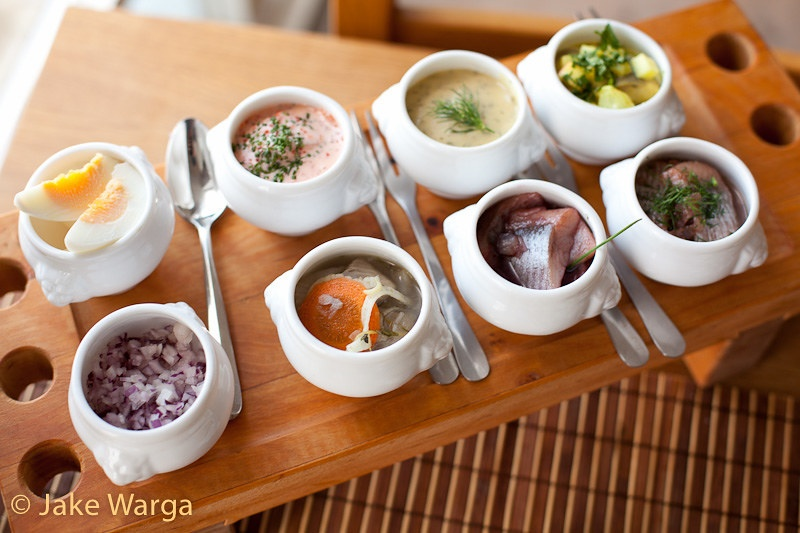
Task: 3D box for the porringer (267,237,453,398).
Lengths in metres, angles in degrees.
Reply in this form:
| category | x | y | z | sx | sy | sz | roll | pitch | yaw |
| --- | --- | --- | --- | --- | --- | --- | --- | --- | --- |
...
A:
| category | x | y | z | sx | sy | sz | roll | pitch | yaw |
| --- | --- | --- | --- | --- | --- | --- | --- | --- | --- |
| porringer | -0.092 | 0.109 | 1.282 | 0.319 | 0.183 | 0.295 | -25 | 62 | -16 |

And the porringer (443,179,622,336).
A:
| category | x | y | z | sx | sy | sz | roll | pitch | yaw |
| --- | --- | --- | --- | --- | --- | --- | --- | --- | --- |
| porringer | 0.284 | -0.005 | 1.359 | 0.334 | 0.228 | 0.294 | -14 | 60 | -10 |

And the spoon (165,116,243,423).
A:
| category | x | y | z | sx | sy | sz | roll | pitch | yaw |
| --- | --- | --- | --- | --- | --- | --- | --- | --- | --- |
| spoon | -0.508 | -0.105 | 1.546 | 0.150 | 0.104 | 0.944 | -8 | 70 | -8 |

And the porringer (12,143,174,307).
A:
| category | x | y | z | sx | sy | sz | roll | pitch | yaw |
| --- | --- | --- | --- | --- | --- | --- | --- | --- | --- |
| porringer | -0.668 | -0.108 | 1.335 | 0.314 | 0.188 | 0.272 | -30 | 64 | -19 |

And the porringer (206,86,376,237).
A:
| category | x | y | z | sx | sy | sz | roll | pitch | yaw |
| --- | --- | --- | --- | --- | --- | --- | --- | --- | --- |
| porringer | -0.255 | -0.234 | 1.420 | 0.342 | 0.183 | 0.311 | -21 | 61 | -14 |

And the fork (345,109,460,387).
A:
| category | x | y | z | sx | sy | sz | roll | pitch | yaw |
| --- | --- | --- | --- | --- | --- | --- | --- | --- | --- |
| fork | 0.003 | -0.030 | 1.352 | 0.084 | 0.036 | 0.685 | -25 | 97 | -18 |
